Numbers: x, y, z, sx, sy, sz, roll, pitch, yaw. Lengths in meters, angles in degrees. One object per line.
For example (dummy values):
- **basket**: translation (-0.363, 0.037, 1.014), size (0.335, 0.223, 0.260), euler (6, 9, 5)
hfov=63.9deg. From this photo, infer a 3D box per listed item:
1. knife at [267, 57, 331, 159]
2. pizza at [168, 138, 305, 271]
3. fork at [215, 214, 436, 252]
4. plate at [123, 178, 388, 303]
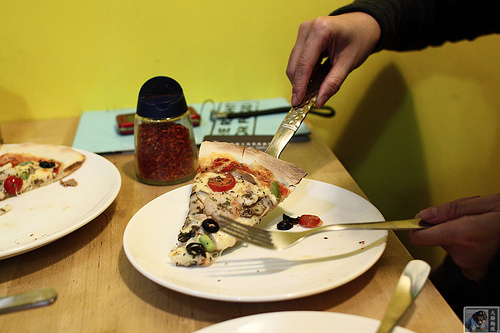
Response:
- **knife**: translation (0.239, -0.335, 1.607), size (0.109, 0.040, 0.779), euler (32, 52, -6)
- **pizza**: translation (-0.083, 0.117, 1.328), size (0.378, 0.064, 0.553), euler (15, 38, 14)
- **fork**: translation (0.221, 0.212, 1.265), size (0.690, 0.079, 0.095), euler (-2, 38, -2)
- **plate**: translation (0.071, 0.204, 1.501), size (0.852, 0.333, 0.805), euler (-11, 15, 6)
